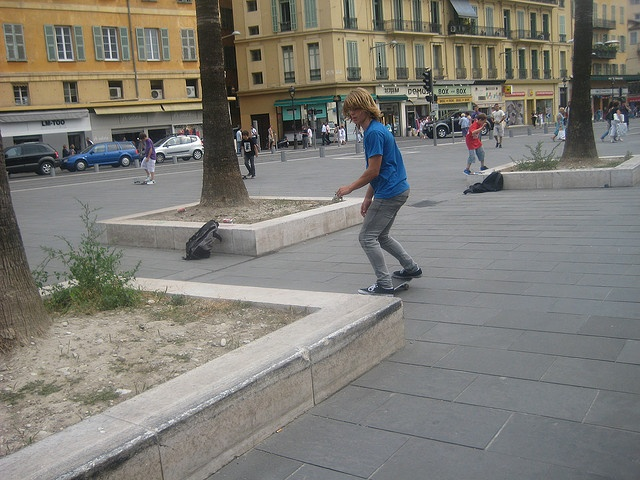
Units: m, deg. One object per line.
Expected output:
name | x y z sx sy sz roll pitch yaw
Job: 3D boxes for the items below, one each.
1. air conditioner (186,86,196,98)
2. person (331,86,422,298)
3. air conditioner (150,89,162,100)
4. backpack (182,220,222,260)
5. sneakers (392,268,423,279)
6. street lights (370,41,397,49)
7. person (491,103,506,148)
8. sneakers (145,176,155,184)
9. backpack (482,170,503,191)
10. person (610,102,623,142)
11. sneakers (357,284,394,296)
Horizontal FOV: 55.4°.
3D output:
air conditioner | -10.024 -11.543 47.132 0.671 1.008 0.986 5 10 30
person | 0.604 -0.451 6.208 0.718 2.166 1.136 -1 13 14
air conditioner | -12.039 -10.872 45.307 0.633 0.895 1.203 3 12 27
backpack | -1.691 0.053 8.948 0.233 0.460 0.603 35 71 21
sneakers | 1.002 0.385 6.856 0.343 0.158 0.129 2 8 22
street lights | 5.726 -17.039 53.014 3.334 0.763 0.771 -17 18 -41
person | 7.901 -5.116 27.131 0.642 1.877 0.480 4 14 39
sneakers | -6.121 -2.148 21.996 0.558 0.273 0.193 9 14 43
backpack | 3.813 -1.286 13.536 0.494 0.541 0.321 0 5 9
person | 12.802 -5.008 26.401 0.503 1.554 2.976 2 15 25
sneakers | 0.584 0.516 6.262 0.369 0.160 0.138 6 5 28
